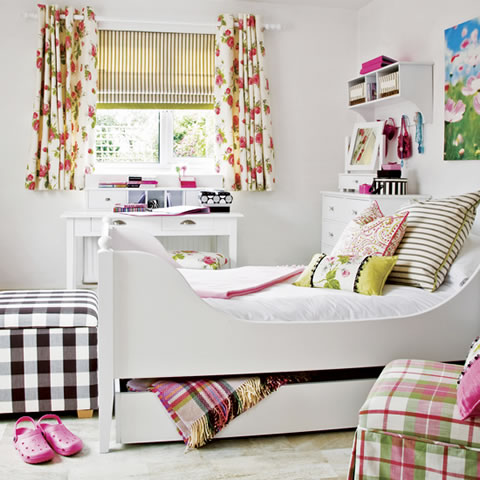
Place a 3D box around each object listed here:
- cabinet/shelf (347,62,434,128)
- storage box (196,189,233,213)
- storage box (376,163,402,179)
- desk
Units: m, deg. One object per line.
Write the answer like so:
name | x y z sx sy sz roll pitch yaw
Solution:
cabinet/shelf | 1.026 -1.007 3.306 0.216 0.401 0.771 -9 13 -9
storage box | -0.166 -0.266 3.245 0.222 0.158 0.199 -1 15 3
storage box | 1.010 -0.448 3.117 0.115 0.086 0.120 -2 4 -17
desk | -0.612 0.086 3.377 1.161 1.023 0.474 1 4 -10
